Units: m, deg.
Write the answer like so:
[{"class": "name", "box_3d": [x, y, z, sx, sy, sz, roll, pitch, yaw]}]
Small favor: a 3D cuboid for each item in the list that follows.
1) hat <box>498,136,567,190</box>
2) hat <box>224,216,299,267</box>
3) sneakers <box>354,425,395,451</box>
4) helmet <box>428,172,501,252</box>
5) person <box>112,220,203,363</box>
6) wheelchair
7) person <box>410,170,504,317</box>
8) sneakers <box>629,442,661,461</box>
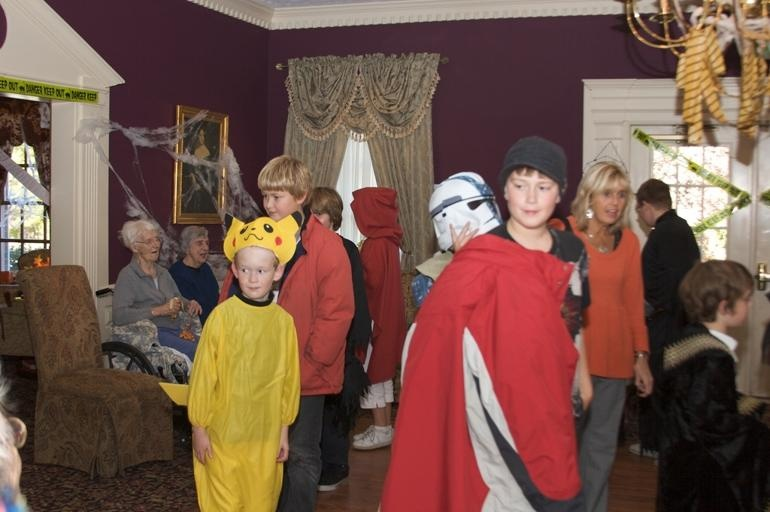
[{"class": "hat", "box_3d": [0.652, -0.408, 2.837, 0.261, 0.214, 0.375, 11, 1, 7]}, {"class": "hat", "box_3d": [-0.648, -0.090, 3.451, 0.371, 0.268, 0.291, 0, -11, 6]}, {"class": "sneakers", "box_3d": [-0.084, 1.412, 5.066, 0.278, 0.149, 0.194, 1, 3, 3]}, {"class": "helmet", "box_3d": [0.387, -0.214, 3.117, 0.275, 0.373, 0.371, 0, -13, -44]}, {"class": "person", "box_3d": [-1.780, 0.315, 5.212, 0.697, 1.219, 0.680, 6, 10, 34]}, {"class": "wheelchair", "box_3d": [-1.747, 0.858, 4.985, 1.005, 1.073, 0.723, 0, 1, 28]}, {"class": "person", "box_3d": [0.401, -0.080, 3.372, 0.492, 0.820, 0.581, -4, 5, 14]}, {"class": "sneakers", "box_3d": [2.015, 1.517, 5.093, 0.211, 0.103, 0.082, 14, 12, 34]}]
